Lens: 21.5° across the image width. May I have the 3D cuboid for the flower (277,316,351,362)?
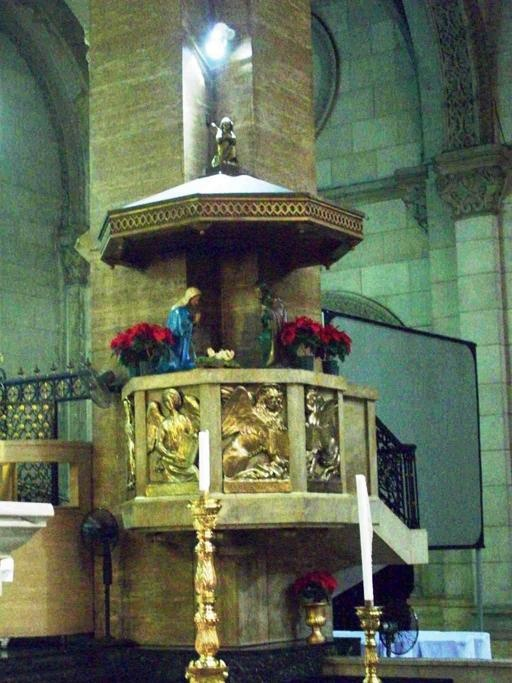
[{"bbox_3d":[0.479,0.000,11.080,0.367,0.342,0.675,-10,-18,35],"label":"flower"}]

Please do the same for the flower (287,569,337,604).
[{"bbox_3d":[0.476,2.098,11.444,0.391,0.270,0.340,1,-15,1],"label":"flower"}]

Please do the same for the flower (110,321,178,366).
[{"bbox_3d":[-0.948,0.016,10.911,0.545,0.323,0.215,-9,-17,32],"label":"flower"}]

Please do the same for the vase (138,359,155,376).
[{"bbox_3d":[-0.893,0.217,10.896,0.109,0.090,0.111,-12,-14,42],"label":"vase"}]

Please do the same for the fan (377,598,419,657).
[{"bbox_3d":[1.233,2.493,11.707,0.319,0.468,0.350,0,-14,5],"label":"fan"}]

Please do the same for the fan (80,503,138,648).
[{"bbox_3d":[-1.259,1.975,11.683,0.304,1.278,0.376,-2,-4,-38],"label":"fan"}]
